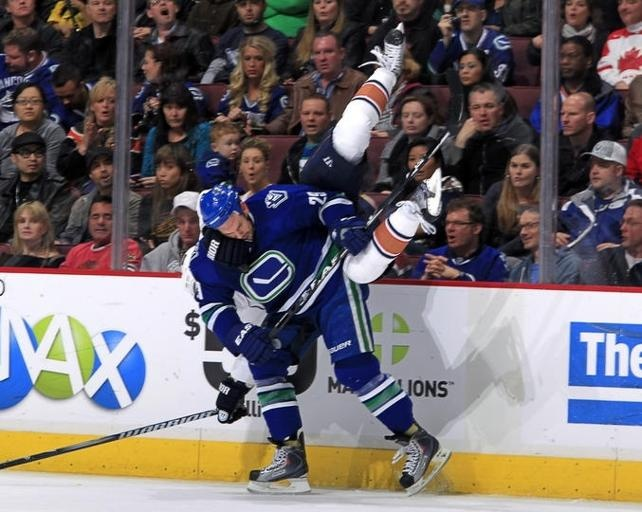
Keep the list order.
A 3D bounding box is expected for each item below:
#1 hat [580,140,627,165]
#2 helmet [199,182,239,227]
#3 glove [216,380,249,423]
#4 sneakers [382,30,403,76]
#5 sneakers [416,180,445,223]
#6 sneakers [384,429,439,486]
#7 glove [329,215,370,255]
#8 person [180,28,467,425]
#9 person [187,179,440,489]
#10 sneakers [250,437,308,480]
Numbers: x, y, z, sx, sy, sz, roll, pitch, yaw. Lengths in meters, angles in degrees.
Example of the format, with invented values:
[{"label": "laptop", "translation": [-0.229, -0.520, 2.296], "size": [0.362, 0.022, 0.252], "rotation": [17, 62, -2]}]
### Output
[{"label": "hat", "translation": [1.621, -0.568, 8.384], "size": [0.204, 0.084, 0.136], "rotation": [14, 2, -9]}, {"label": "helmet", "translation": [-0.525, -0.254, 7.689], "size": [0.178, 0.187, 0.225], "rotation": [40, 11, 2]}, {"label": "glove", "translation": [-0.466, 0.777, 7.958], "size": [0.181, 0.224, 0.121], "rotation": [18, 2, 35]}, {"label": "sneakers", "translation": [0.403, -1.088, 8.006], "size": [0.093, 0.240, 0.106], "rotation": [12, 22, 25]}, {"label": "sneakers", "translation": [0.586, -0.313, 7.725], "size": [0.127, 0.094, 0.280], "rotation": [1, 40, -13]}, {"label": "sneakers", "translation": [0.506, 1.074, 7.867], "size": [0.284, 0.321, 0.090], "rotation": [0, 3, 3]}, {"label": "glove", "translation": [0.177, -0.107, 7.671], "size": [0.192, 0.182, 0.090], "rotation": [38, 11, 32]}, {"label": "person", "translation": [-0.072, 0.112, 8.009], "size": [0.870, 1.119, 2.357], "rotation": [-12, -11, -7]}, {"label": "person", "translation": [-0.002, 0.455, 7.980], "size": [1.596, 1.722, 0.972], "rotation": [-11, -12, 30]}, {"label": "sneakers", "translation": [-0.189, 1.121, 8.010], "size": [0.415, 0.259, 0.147], "rotation": [-11, -11, 34]}]
